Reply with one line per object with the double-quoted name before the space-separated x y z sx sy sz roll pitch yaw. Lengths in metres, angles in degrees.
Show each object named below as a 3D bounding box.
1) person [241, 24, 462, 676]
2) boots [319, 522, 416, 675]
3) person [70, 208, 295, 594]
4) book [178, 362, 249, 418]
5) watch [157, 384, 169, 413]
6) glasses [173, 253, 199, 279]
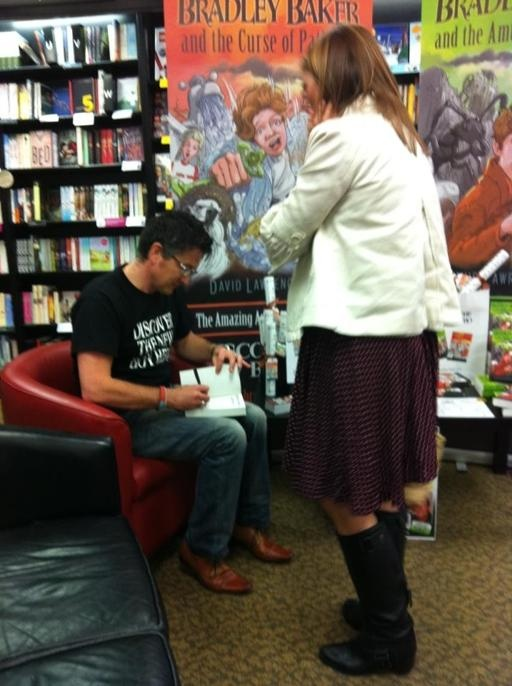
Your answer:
"person" 0.260 0.073 1.229 0.470 1.509 0.306 -2 6 -20
"boots" 0.267 0.611 1.278 0.215 0.387 0.170 1 5 13
"person" -0.225 0.167 1.754 0.580 1.185 0.514 1 11 20
"book" -0.138 0.165 1.694 0.161 0.204 0.060 1 -25 -23
"watch" -0.289 0.180 1.625 0.036 0.075 0.063 -1 -3 -8
"glasses" -0.230 -0.237 1.645 0.019 0.065 0.059 -37 -16 22
